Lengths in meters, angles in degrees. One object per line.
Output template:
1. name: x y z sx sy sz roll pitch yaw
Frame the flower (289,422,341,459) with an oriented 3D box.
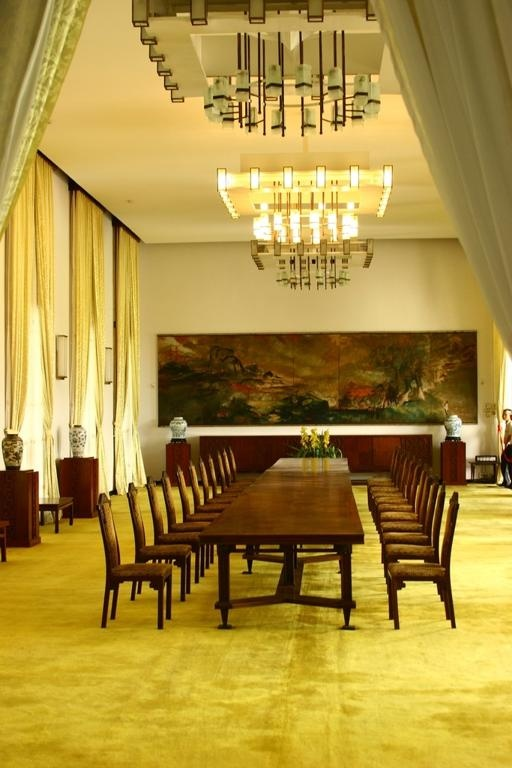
1. flower: 1.207 1.187 10.543 0.751 0.575 1.250 -2 -10 13

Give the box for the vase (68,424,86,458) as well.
1. vase: -3.245 1.046 9.934 0.266 0.628 0.478 3 -9 -24

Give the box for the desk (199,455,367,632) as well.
1. desk: 0.393 1.485 5.392 1.147 1.153 3.757 -2 -10 7

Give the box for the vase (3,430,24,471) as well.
1. vase: -3.318 0.939 7.430 0.251 0.491 0.138 2 -8 -15

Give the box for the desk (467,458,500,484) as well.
1. desk: 5.940 2.272 14.175 0.582 0.961 0.650 1 0 -10

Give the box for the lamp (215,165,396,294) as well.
1. lamp: 0.680 -2.276 7.475 1.815 1.758 2.363 -1 -4 5

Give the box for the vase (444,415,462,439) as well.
1. vase: 5.027 1.140 14.015 0.450 0.726 0.544 0 -6 7

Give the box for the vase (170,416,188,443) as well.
1. vase: -1.983 1.217 14.114 0.537 0.843 0.507 0 -7 -8
